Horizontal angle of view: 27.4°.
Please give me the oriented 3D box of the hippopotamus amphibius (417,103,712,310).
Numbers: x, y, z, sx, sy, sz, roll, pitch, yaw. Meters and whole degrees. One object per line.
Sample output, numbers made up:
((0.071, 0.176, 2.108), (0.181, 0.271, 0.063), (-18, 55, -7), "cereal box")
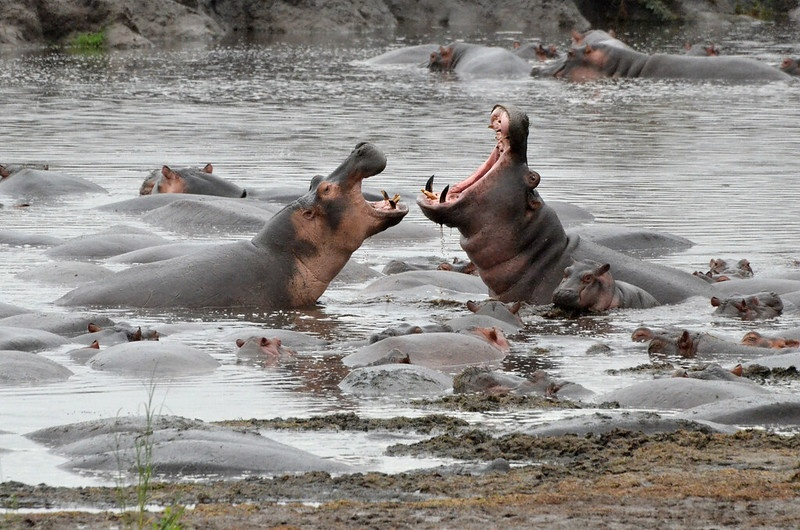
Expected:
((1.593, -0.649, 17.706), (2.829, 2.138, 1.060), (2, 11, -1), "hippopotamus amphibius")

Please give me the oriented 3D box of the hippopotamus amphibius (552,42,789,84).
((6.178, -4.732, 38.811), (4.795, 0.864, 0.822), (4, 10, 16), "hippopotamus amphibius")

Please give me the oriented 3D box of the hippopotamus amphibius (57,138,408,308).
((-2.080, -0.476, 20.079), (4.722, 1.959, 1.016), (-9, 38, 0), "hippopotamus amphibius")

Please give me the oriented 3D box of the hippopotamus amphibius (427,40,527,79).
((1.974, -5.031, 40.748), (2.335, 0.675, 1.104), (15, 8, 41), "hippopotamus amphibius")
